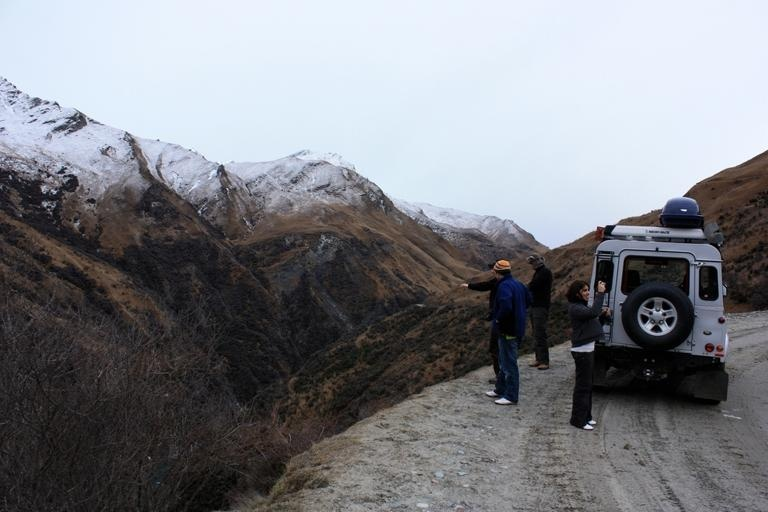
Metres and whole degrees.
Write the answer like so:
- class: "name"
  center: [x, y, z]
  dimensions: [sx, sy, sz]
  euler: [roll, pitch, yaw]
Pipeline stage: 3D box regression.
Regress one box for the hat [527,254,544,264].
- class: "hat"
  center: [5.377, 0.106, 23.372]
  dimensions: [0.496, 0.320, 1.001]
  euler: [11, 5, 16]
